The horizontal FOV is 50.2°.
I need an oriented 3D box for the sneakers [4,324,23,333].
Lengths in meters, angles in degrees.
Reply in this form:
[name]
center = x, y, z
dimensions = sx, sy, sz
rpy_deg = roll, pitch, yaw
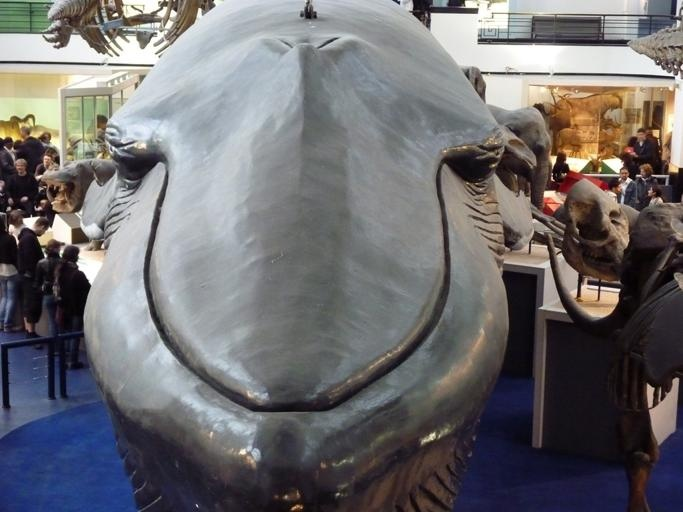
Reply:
[sneakers]
center = -4.524, 0.996, 10.035
dimensions = 0.217, 0.118, 0.092
rpy_deg = -4, 11, -19

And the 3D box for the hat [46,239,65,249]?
[hat]
center = -3.650, -0.163, 9.303
dimensions = 0.128, 0.121, 0.170
rpy_deg = -5, -9, -16
